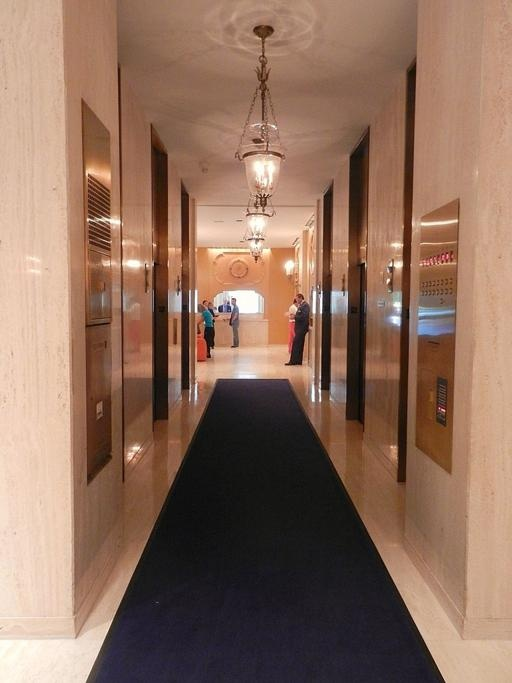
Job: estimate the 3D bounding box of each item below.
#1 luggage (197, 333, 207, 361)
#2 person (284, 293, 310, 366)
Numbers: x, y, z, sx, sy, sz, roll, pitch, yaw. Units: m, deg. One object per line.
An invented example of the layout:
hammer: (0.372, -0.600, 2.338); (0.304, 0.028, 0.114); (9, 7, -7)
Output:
luggage: (-1.358, 0.171, 12.532); (0.212, 0.659, 0.773); (-1, 7, -9)
person: (0.977, -0.255, 11.589); (0.521, 1.665, 1.167); (0, 6, 4)
